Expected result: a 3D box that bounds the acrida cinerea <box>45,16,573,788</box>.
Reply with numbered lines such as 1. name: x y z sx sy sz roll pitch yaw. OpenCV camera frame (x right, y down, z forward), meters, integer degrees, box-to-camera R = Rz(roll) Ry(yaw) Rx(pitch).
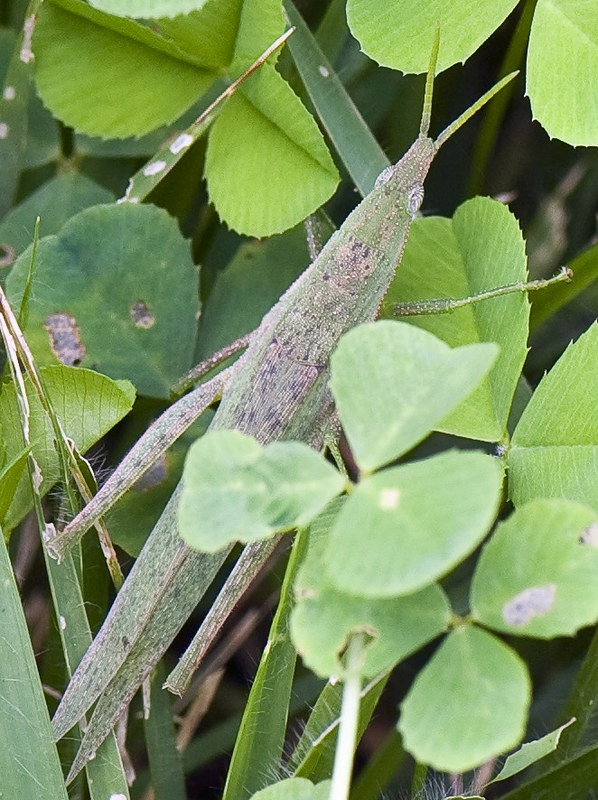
1. acrida cinerea: -0.037 0.002 1.251 0.452 1.117 0.193 34 6 4
